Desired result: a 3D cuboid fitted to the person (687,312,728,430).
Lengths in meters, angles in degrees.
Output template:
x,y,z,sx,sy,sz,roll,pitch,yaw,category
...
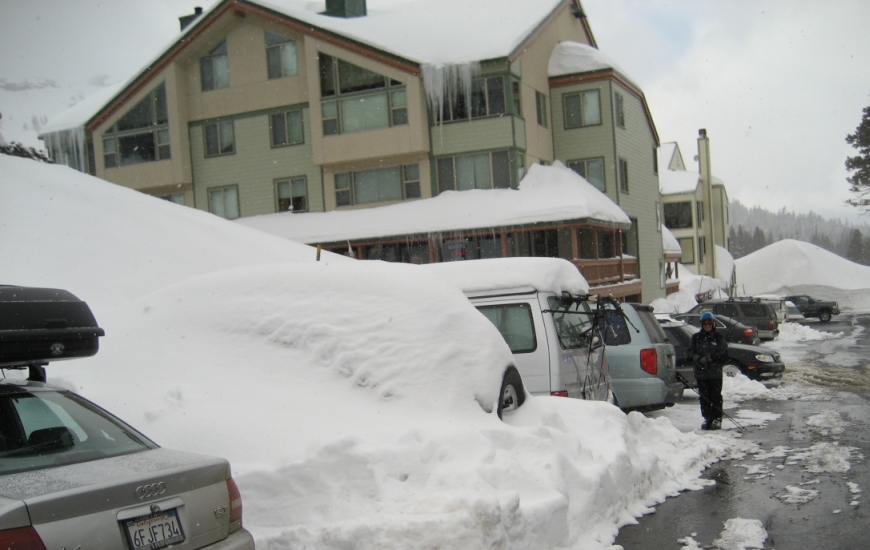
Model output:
x,y,z,sx,sy,sz,roll,pitch,yaw,category
5.416,1.887,15.069,0.662,2.182,1.042,-6,-3,24,person
